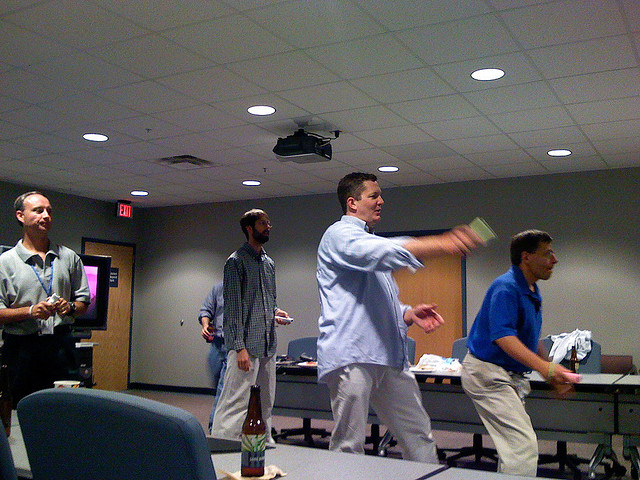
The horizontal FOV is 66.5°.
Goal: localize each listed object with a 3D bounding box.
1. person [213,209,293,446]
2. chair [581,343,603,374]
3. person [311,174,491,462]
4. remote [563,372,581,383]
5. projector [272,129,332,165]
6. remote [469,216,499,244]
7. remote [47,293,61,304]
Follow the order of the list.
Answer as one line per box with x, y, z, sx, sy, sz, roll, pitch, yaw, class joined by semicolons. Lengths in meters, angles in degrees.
-0.539;0.652;4.012;0.546;1.858;0.389;5;-8;-33;person
2.475;1.099;4.525;0.284;0.260;0.127;6;-9;-37;chair
0.272;0.454;2.202;0.581;1.130;0.769;1;-7;0;person
1.321;0.705;2.545;0.047;0.053;0.180;34;3;40;remote
-0.209;-1.022;5.509;0.640;0.216;0.472;2;-4;32;projector
0.616;-0.035;1.867;0.081;0.110;0.251;-1;-8;18;remote
-1.269;0.282;2.345;0.032;0.035;0.090;-3;3;-8;remote
